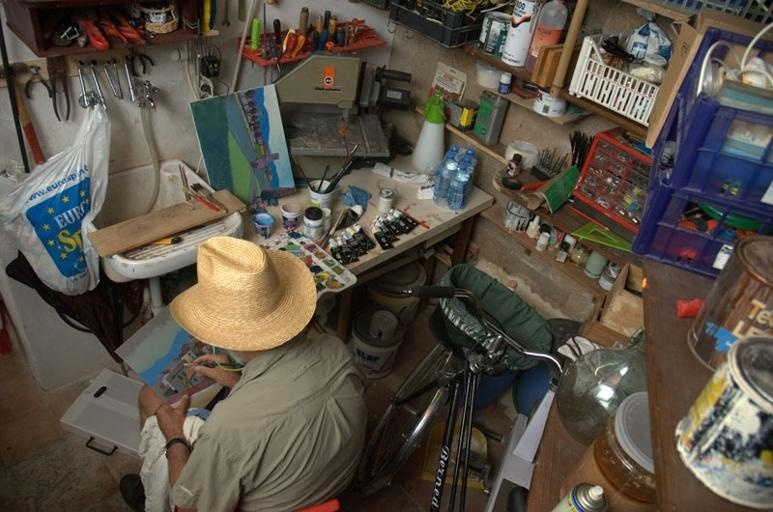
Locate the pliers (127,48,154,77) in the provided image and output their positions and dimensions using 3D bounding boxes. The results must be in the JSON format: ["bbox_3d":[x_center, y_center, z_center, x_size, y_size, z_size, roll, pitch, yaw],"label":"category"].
[{"bbox_3d":[-1.318,-1.031,2.976,0.098,0.138,0.037,-11,47,-25],"label":"pliers"}]

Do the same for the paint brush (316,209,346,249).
[{"bbox_3d":[-0.327,-0.147,3.227,0.049,0.098,0.287,-11,33,47],"label":"paint brush"}]

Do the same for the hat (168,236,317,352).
[{"bbox_3d":[-0.623,0.143,2.432,0.610,0.500,0.573,5,27,-25],"label":"hat"}]

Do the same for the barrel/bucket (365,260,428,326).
[{"bbox_3d":[0.073,0.233,3.926,0.411,0.402,0.386,6,45,-6],"label":"barrel/bucket"}]

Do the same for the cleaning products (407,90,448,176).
[{"bbox_3d":[0.293,-0.792,3.693,0.207,0.514,0.173,25,36,27],"label":"cleaning products"}]

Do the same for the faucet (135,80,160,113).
[{"bbox_3d":[-1.308,-0.857,3.051,0.116,0.177,0.176,-3,33,-14],"label":"faucet"}]

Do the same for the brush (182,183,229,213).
[{"bbox_3d":[-1.015,-0.320,3.119,0.122,0.047,0.330,-33,48,-24],"label":"brush"}]

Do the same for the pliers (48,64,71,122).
[{"bbox_3d":[-1.659,-0.823,2.848,0.101,0.305,0.051,-16,38,-30],"label":"pliers"}]

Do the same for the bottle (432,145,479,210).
[{"bbox_3d":[0.449,-0.495,3.555,0.249,0.448,0.210,31,37,29],"label":"bottle"}]

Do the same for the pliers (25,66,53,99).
[{"bbox_3d":[-1.741,-0.840,2.757,0.131,0.020,0.220,-17,69,-39],"label":"pliers"}]
